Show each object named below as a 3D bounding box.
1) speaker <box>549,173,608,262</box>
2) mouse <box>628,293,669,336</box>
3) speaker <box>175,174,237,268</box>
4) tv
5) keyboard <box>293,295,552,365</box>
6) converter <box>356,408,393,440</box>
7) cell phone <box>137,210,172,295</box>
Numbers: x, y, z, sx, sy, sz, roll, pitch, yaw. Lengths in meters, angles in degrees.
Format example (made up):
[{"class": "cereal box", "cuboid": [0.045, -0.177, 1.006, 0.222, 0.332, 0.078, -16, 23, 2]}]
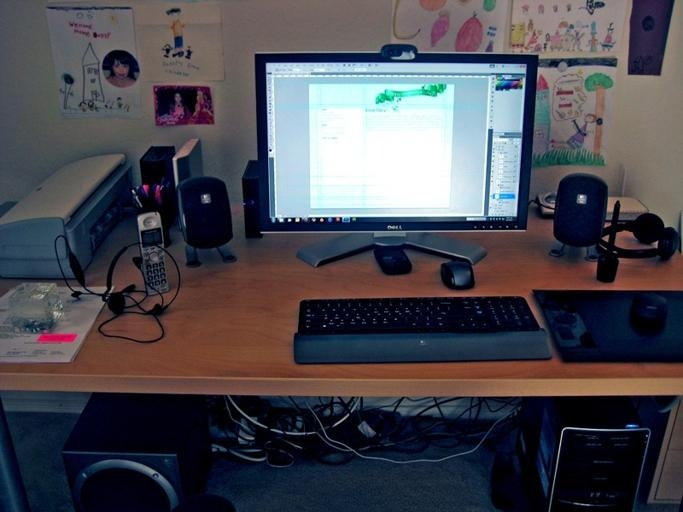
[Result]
[{"class": "speaker", "cuboid": [0.677, -0.123, 1.721, 0.145, 0.254, 0.145, 8, 22, 9]}, {"class": "mouse", "cuboid": [0.760, 0.142, 1.412, 0.076, 0.104, 0.034, 10, -14, 17]}, {"class": "speaker", "cuboid": [-0.401, -0.113, 1.731, 0.153, 0.271, 0.160, -8, 26, -28]}, {"class": "tv", "cuboid": [0.149, -0.271, 1.601, 0.683, 0.526, 0.198, -1, 27, -1]}, {"class": "keyboard", "cuboid": [0.196, 0.176, 1.394, 0.612, 0.090, 0.173, -1, 20, 0]}, {"class": "converter", "cuboid": [0.136, 0.619, 2.132, 0.093, 0.022, 0.091, 12, 29, 15]}, {"class": "cell phone", "cuboid": [-0.496, -0.011, 1.556, 0.099, 0.198, 0.110, -5, 25, -20]}]
